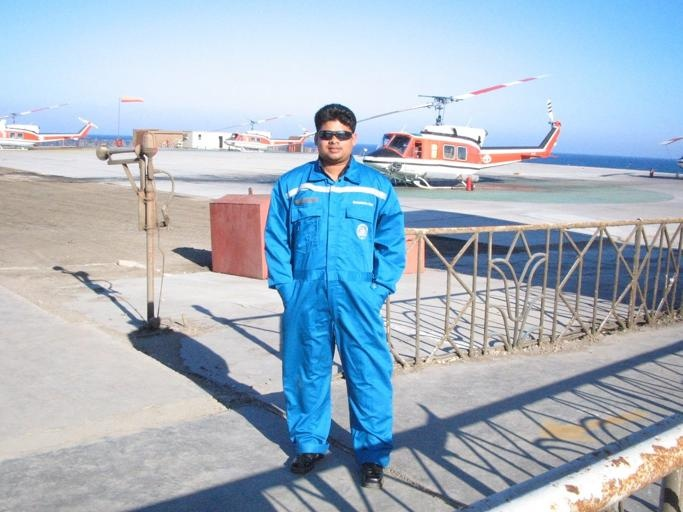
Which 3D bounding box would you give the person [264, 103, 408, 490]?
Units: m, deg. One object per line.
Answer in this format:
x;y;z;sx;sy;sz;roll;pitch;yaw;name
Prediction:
-0.048;0.236;4.379;0.958;2.445;0.960;2;16;-6;person

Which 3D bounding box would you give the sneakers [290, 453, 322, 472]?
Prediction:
-0.237;1.418;4.459;0.095;0.090;0.254;-4;-13;25;sneakers
